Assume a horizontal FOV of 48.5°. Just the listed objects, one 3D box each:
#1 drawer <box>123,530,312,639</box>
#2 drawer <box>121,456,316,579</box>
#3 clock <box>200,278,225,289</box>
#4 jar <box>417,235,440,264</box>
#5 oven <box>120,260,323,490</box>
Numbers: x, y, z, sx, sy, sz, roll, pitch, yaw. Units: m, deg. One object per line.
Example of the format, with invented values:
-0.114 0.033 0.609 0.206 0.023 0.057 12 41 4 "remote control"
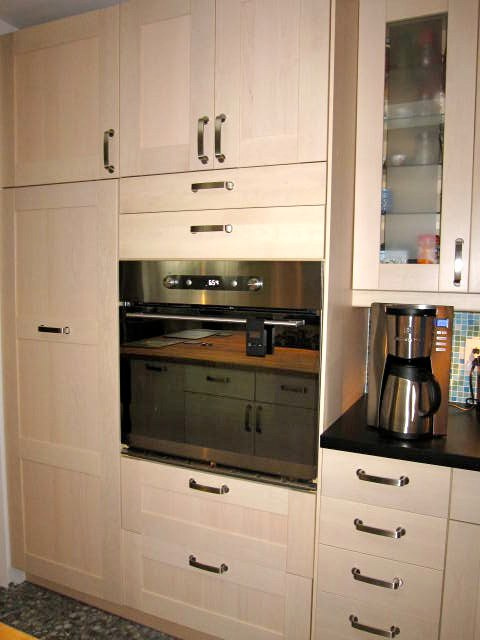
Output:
-0.080 0.931 1.831 0.425 0.243 0.326 0 -12 28 "drawer"
-0.059 0.590 2.000 0.688 0.352 0.431 7 23 11 "drawer"
-0.094 -0.122 1.773 0.093 0.036 0.003 2 7 25 "clock"
0.614 -0.230 1.737 0.072 0.107 0.034 8 15 40 "jar"
-0.040 0.170 1.768 0.654 0.744 0.267 4 7 24 "oven"
